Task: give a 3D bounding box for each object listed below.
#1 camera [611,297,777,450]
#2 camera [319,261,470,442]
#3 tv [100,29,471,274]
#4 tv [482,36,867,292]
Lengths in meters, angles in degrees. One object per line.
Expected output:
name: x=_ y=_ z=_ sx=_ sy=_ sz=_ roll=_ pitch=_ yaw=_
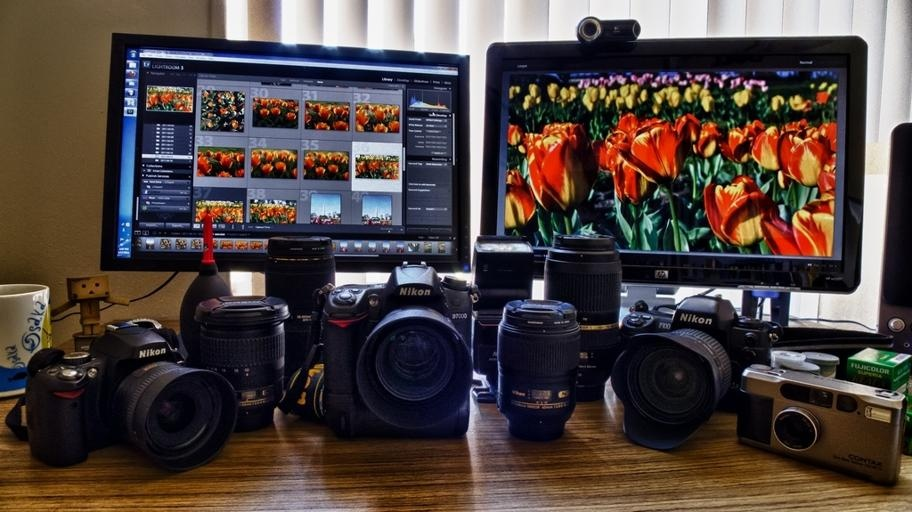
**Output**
camera: x=0.652 y=0.272 z=1.923 sx=0.450 sy=0.274 sz=0.524 roll=-3 pitch=12 yaw=11
camera: x=-0.152 y=0.232 z=1.843 sx=0.398 sy=0.381 sz=0.416 roll=1 pitch=3 yaw=-1
tv: x=-0.506 y=-0.287 z=2.095 sx=0.757 sy=0.463 sz=0.055 roll=2 pitch=-2 yaw=-6
tv: x=0.656 y=-0.261 z=2.038 sx=0.777 sy=0.508 sz=0.077 roll=2 pitch=2 yaw=2
